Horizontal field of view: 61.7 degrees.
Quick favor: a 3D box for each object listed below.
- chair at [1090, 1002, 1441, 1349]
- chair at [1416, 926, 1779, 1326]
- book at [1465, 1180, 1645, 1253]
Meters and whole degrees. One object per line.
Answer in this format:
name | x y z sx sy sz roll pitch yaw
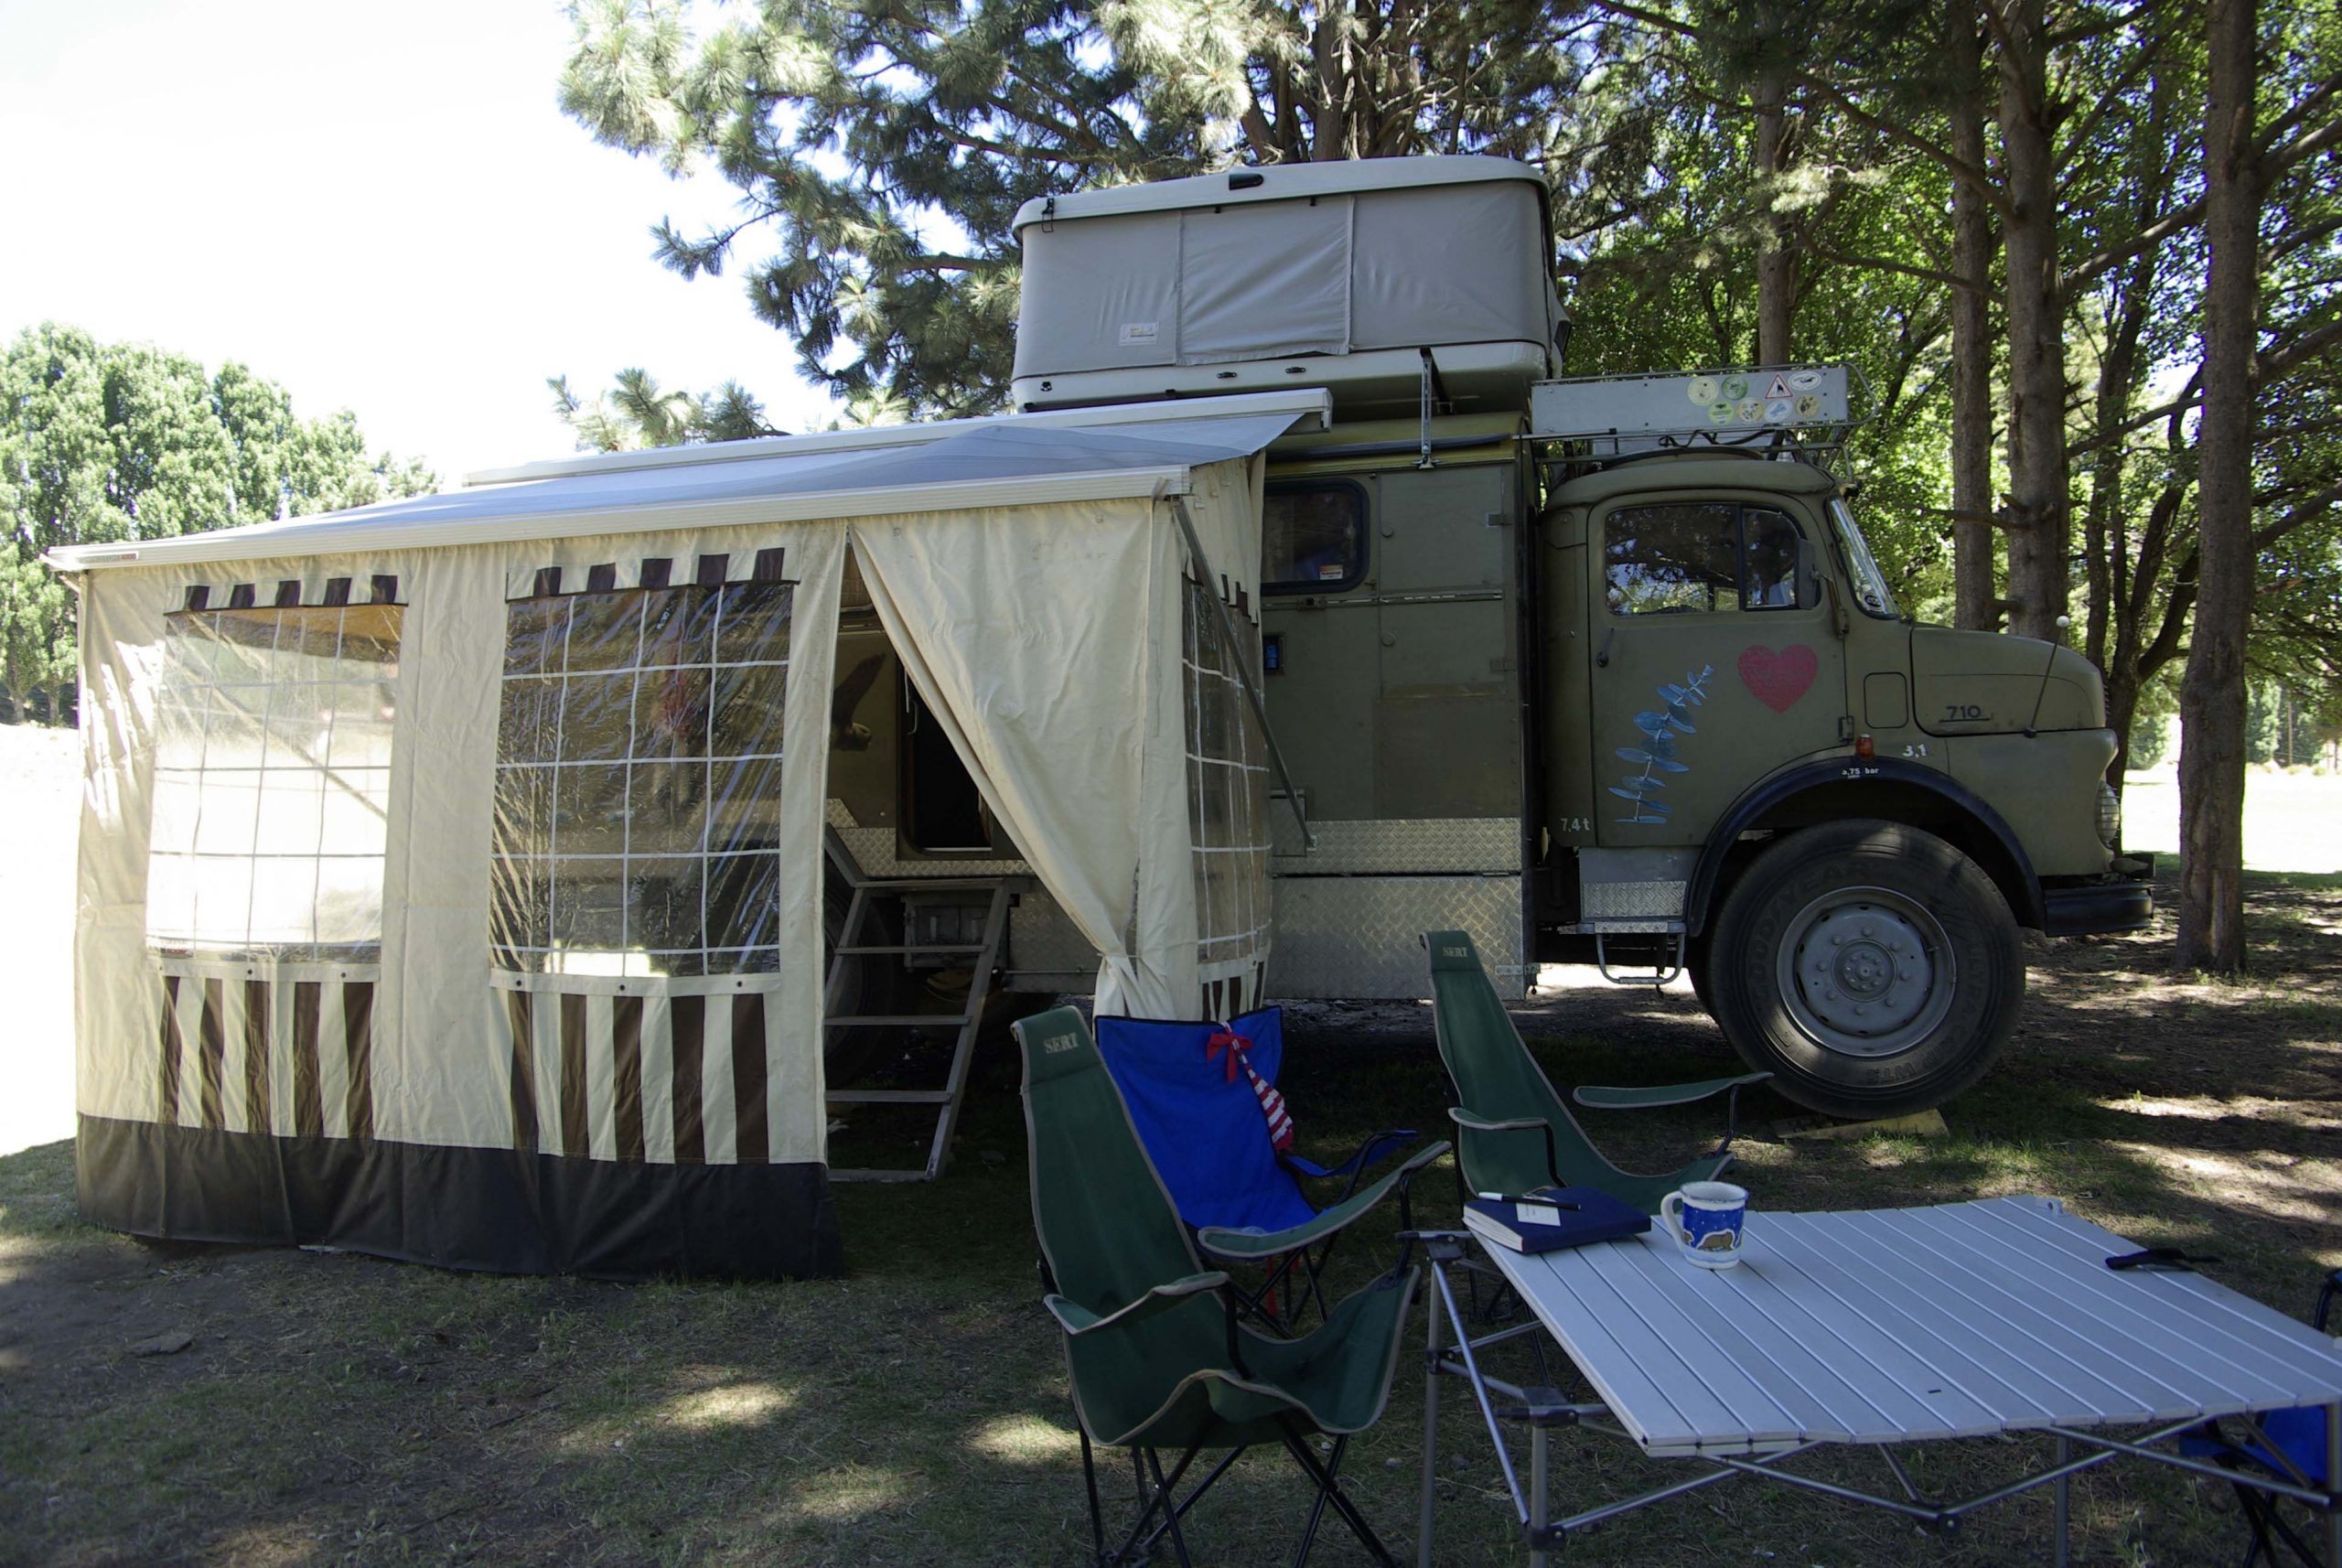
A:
chair | 0.585 1.590 8.709 1.367 1.626 1.372 -6 -5 -37
chair | 1.566 1.421 8.523 1.272 0.996 1.391 -3 -3 41
book | 1.468 1.656 7.529 0.440 0.097 0.444 0 0 -34
